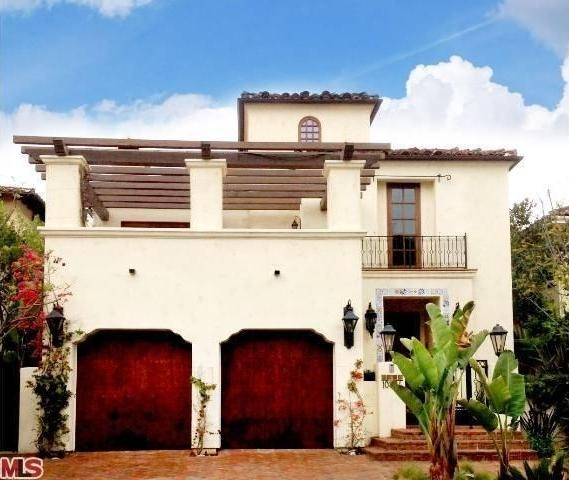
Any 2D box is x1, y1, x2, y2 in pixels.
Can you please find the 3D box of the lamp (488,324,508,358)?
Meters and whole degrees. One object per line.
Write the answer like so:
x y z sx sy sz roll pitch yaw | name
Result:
6.615 3.158 30.509 0.505 1.166 0.575 -3 -1 -11 | lamp

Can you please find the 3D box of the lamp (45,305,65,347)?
-6.803 2.557 29.279 0.536 1.259 0.442 1 -7 -16 | lamp

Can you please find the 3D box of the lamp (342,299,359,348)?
1.980 2.540 29.751 0.458 1.459 0.409 -1 -7 1 | lamp

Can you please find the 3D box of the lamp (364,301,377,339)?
2.773 2.536 32.009 0.406 1.145 1.417 -1 -7 5 | lamp
